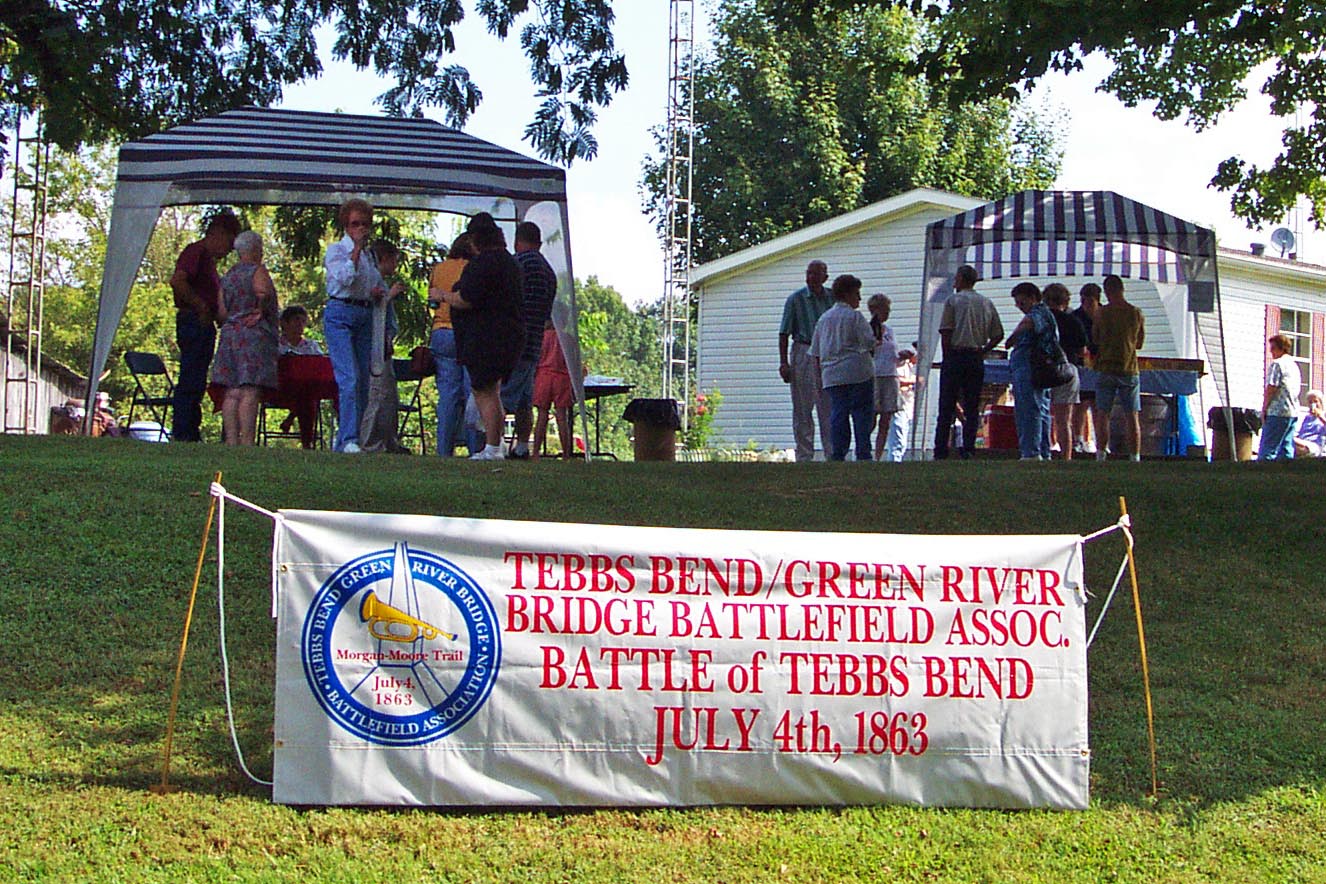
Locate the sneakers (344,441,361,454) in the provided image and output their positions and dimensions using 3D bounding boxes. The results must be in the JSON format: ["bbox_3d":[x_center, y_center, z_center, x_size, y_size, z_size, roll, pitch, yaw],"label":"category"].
[{"bbox_3d":[-3.232,0.053,18.262,0.108,0.140,0.106,-9,-3,15],"label":"sneakers"}]

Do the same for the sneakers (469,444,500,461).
[{"bbox_3d":[-1.845,0.104,18.100,0.421,0.230,0.139,3,1,34],"label":"sneakers"}]

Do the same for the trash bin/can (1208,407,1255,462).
[{"bbox_3d":[7.687,-0.142,23.950,0.709,1.048,0.798,0,0,10],"label":"trash bin/can"}]

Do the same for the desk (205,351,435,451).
[{"bbox_3d":[-3.940,-0.669,20.578,1.621,1.019,1.293,3,6,42],"label":"desk"}]

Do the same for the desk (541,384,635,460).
[{"bbox_3d":[-1.349,-0.323,32.488,1.774,2.285,2.040,1,1,-3],"label":"desk"}]

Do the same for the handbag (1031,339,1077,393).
[{"bbox_3d":[4.430,-0.872,20.181,0.253,0.520,0.751,0,-4,41],"label":"handbag"}]

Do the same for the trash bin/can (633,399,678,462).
[{"bbox_3d":[-0.155,-0.156,21.774,0.542,0.901,0.647,1,0,7],"label":"trash bin/can"}]

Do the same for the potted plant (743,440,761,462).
[{"bbox_3d":[1.418,0.153,29.680,0.320,0.428,0.368,2,0,13],"label":"potted plant"}]

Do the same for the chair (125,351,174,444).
[{"bbox_3d":[-6.246,-0.541,21.645,0.571,1.179,0.698,-1,-1,-44],"label":"chair"}]
